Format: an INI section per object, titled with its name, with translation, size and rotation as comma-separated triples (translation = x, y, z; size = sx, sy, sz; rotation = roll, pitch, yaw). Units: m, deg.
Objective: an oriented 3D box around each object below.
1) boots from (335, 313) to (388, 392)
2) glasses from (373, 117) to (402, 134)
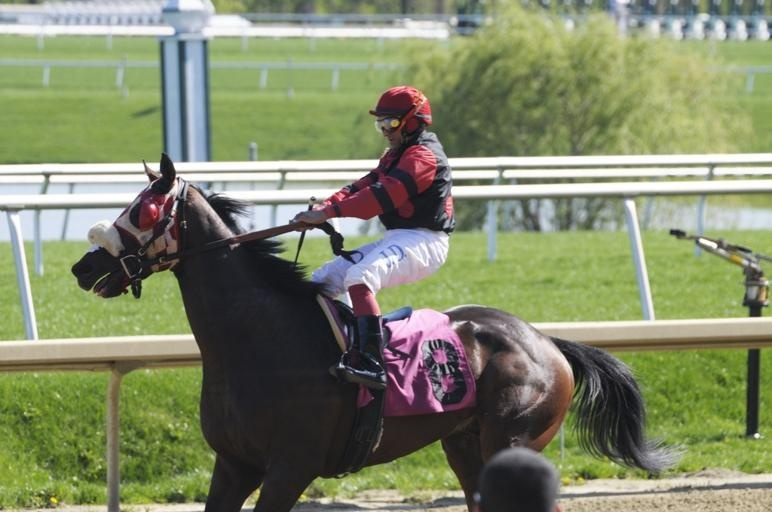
[boots]
translation = -0.271, 0.960, 19.095
size = 0.366, 0.677, 0.708
rotation = 4, 2, 35
[glasses]
translation = 0.008, -1.242, 19.395
size = 0.152, 0.079, 0.179
rotation = -9, -10, 41
